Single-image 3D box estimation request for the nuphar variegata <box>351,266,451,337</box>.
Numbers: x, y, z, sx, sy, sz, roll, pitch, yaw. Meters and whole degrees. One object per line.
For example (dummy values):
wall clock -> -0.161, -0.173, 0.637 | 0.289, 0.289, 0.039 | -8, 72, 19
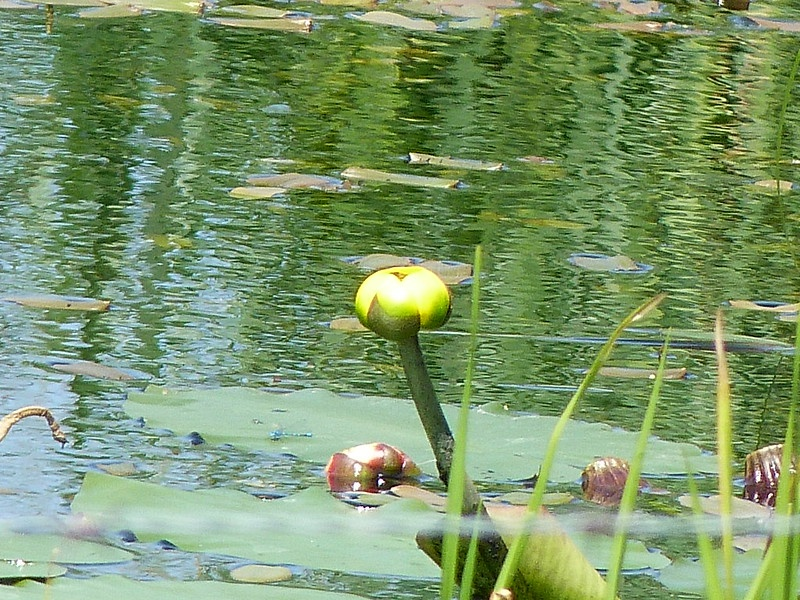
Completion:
nuphar variegata -> -0.015, -0.001, 1.466 | 0.163, 0.055, 0.104 | -3, 32, -12
